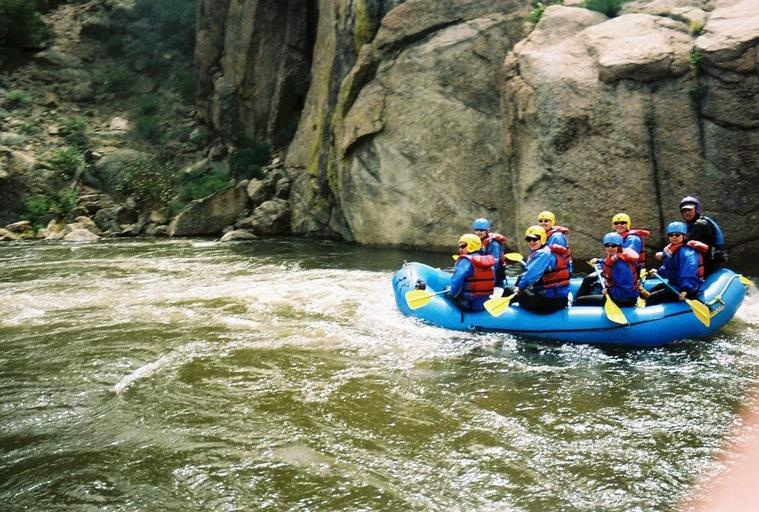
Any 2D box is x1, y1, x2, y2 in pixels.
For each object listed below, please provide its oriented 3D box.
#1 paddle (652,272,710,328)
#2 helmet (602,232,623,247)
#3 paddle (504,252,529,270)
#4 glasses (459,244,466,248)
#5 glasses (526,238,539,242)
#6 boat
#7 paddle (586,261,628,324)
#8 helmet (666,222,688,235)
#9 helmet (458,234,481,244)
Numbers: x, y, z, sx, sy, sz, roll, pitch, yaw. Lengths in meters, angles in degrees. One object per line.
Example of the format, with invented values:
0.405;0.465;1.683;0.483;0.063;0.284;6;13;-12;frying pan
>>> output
5.845;0.881;13.673;0.076;0.276;1.402;-9;40;-40;paddle
4.563;-0.349;13.862;0.332;0.281;0.442;4;3;13;helmet
2.995;0.081;16.190;0.513;0.144;0.874;-2;13;-18;paddle
1.716;-0.225;14.666;0.175;0.052;0.192;12;-1;-6;glasses
2.981;-0.343;13.920;0.248;0.093;0.109;5;4;42;glasses
3.790;1.153;14.234;5.370;0.811;2.652;1;0;18;boat
4.402;0.674;14.103;0.324;0.191;1.822;-17;38;-1;paddle
5.890;-0.570;14.001;0.328;0.258;0.491;5;4;24;helmet
1.809;-0.382;14.372;0.370;0.203;0.241;9;5;9;helmet
